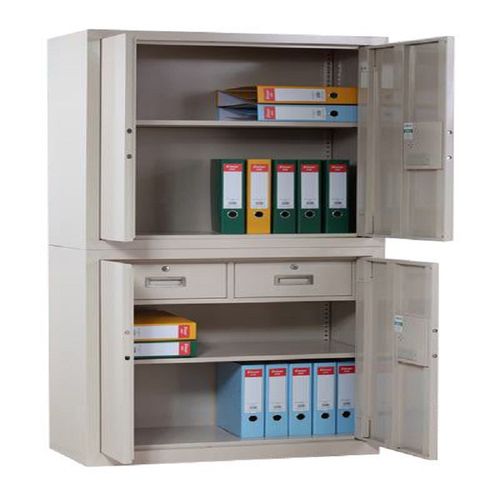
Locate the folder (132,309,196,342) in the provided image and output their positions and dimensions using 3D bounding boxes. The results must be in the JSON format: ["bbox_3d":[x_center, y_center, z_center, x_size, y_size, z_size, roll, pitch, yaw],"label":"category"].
[{"bbox_3d":[-0.397,0.350,2.738,0.262,0.086,0.374,-2,3,-10],"label":"folder"}]

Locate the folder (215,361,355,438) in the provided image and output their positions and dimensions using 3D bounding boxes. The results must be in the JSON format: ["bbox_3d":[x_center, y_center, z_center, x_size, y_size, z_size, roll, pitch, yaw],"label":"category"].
[{"bbox_3d":[0.222,0.707,2.806,0.589,0.302,0.380,0,4,-4],"label":"folder"}]
